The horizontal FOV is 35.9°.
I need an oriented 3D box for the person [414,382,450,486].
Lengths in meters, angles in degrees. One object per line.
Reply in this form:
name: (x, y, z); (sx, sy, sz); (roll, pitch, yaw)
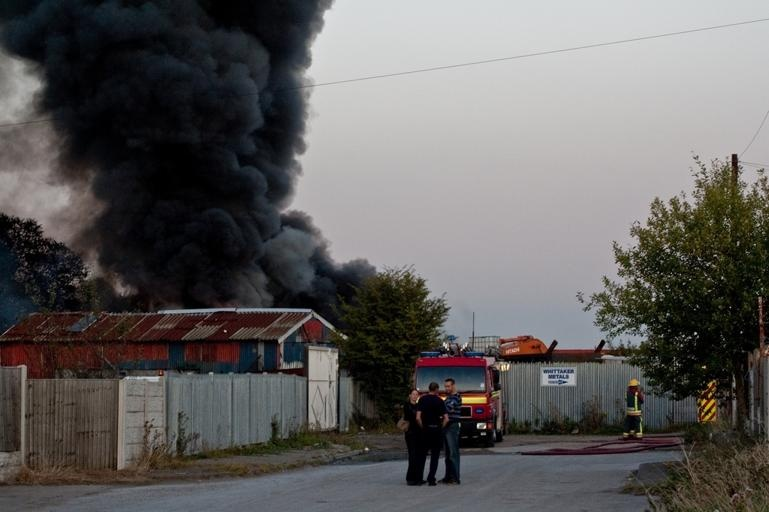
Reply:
person: (1.639, 6.053, 39.859); (1.012, 3.048, 1.376); (-2, -5, 25)

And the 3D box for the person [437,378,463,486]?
person: (2.240, 5.897, 40.022); (0.616, 3.579, 1.227); (-1, -10, 3)

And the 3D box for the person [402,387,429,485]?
person: (0.960, 6.175, 40.087); (0.788, 3.263, 0.921); (-2, 5, -22)

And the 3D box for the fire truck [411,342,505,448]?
fire truck: (3.318, 6.035, 51.002); (3.629, 3.854, 6.768); (-2, -8, 10)
